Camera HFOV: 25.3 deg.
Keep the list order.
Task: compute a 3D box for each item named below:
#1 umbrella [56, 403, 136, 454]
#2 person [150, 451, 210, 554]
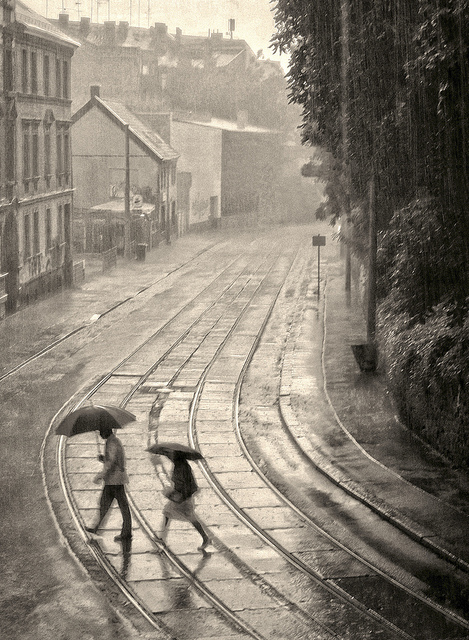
[{"bbox_3d":[-1.969,1.576,14.800,0.676,0.694,0.779,-11,0,-8],"label":"umbrella"},{"bbox_3d":[-0.655,2.063,12.353,0.665,1.305,0.639,-3,10,-1],"label":"person"}]
